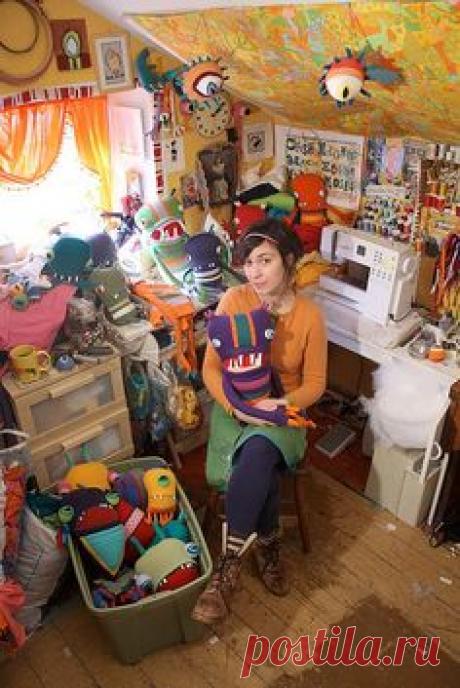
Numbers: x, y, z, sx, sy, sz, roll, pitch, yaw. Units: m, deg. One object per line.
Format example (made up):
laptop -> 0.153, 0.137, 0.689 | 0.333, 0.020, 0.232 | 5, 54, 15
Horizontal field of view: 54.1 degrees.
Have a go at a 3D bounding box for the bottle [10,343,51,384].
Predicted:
bottle -> -0.761, 0.058, 1.779 | 0.176, 0.143, 0.108 | -13, 38, -43

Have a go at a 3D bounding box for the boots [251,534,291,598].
boots -> 0.149, 0.861, 1.807 | 0.097, 0.118, 0.274 | -10, 47, -6

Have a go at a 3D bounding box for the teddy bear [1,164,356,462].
teddy bear -> -0.090, -0.395, 2.446 | 1.529, 0.876, 0.836 | -7, 24, -8

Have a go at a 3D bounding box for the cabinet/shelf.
cabinet/shelf -> -0.670, 0.286, 1.808 | 0.419, 0.535, 0.288 | -30, 44, -34

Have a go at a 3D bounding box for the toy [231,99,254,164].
toy -> 0.076, -1.233, 2.627 | 0.096, 0.320, 0.125 | 3, 24, 13

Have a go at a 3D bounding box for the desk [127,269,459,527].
desk -> 0.329, 0.437, 2.606 | 1.639, 1.092, 1.081 | 29, 37, 34

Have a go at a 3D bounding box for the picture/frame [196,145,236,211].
picture/frame -> -0.086, -0.970, 2.593 | 0.293, 0.329, 0.046 | -32, 44, -32

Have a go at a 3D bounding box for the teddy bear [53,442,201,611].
teddy bear -> -0.369, 0.658, 1.623 | 0.359, 0.230, 0.505 | -14, 33, -20

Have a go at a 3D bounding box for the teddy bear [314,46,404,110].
teddy bear -> 0.409, -0.851, 1.451 | 0.302, 0.148, 0.253 | -13, 25, -23

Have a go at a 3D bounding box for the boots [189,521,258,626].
boots -> -0.017, 0.760, 1.498 | 0.114, 0.225, 0.323 | 13, 15, 18

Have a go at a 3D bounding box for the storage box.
storage box -> -0.343, 0.758, 1.624 | 0.369, 0.273, 0.562 | -14, 32, -17

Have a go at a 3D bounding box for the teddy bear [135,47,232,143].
teddy bear -> -0.209, -1.119, 1.979 | 0.424, 0.374, 0.151 | -15, 32, -17

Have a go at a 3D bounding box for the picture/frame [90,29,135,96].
picture/frame -> -0.512, -1.221, 1.939 | 0.009, 0.228, 0.230 | 28, 53, 25
